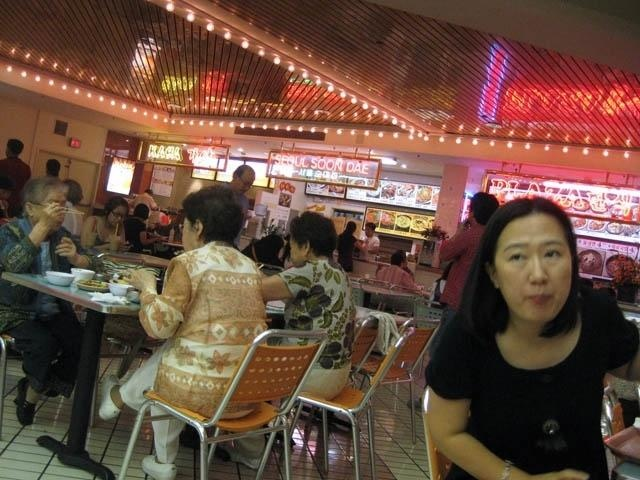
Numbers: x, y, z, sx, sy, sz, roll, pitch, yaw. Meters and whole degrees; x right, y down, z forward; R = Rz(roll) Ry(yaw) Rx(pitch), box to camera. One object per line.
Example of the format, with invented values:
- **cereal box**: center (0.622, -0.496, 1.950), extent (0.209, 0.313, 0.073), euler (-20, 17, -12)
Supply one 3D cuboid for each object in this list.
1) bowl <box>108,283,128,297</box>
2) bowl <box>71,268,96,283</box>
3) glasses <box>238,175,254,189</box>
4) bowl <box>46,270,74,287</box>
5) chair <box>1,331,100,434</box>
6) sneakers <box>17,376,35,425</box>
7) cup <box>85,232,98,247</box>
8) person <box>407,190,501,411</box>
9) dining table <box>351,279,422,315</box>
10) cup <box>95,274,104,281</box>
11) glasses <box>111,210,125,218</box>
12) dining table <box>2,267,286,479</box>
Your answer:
- **bowl**: center (-1.115, 0.281, 2.612), extent (0.084, 0.049, 0.085), euler (4, 6, 0)
- **bowl**: center (-1.412, 0.207, 2.788), extent (0.099, 0.068, 0.101), euler (3, 6, 0)
- **glasses**: center (-0.854, -0.710, 5.533), extent (0.115, 0.155, 0.161), euler (16, 39, -22)
- **bowl**: center (-1.440, 0.201, 2.632), extent (0.105, 0.044, 0.107), euler (9, 9, -1)
- **chair**: center (-1.702, 0.824, 2.912), extent (0.431, 0.612, 0.376), euler (8, -6, 1)
- **sneakers**: center (-1.852, 1.056, 2.985), extent (0.096, 0.322, 0.112), euler (-5, -5, 10)
- **cup**: center (-2.021, -0.008, 4.165), extent (0.098, 0.129, 0.100), euler (11, -24, 5)
- **person**: center (1.181, 0.582, 4.130), extent (0.620, 2.029, 0.470), euler (12, 4, -23)
- **dining table**: center (0.841, 0.738, 5.982), extent (0.550, 0.388, 0.793), euler (14, 3, 6)
- **cup**: center (-1.405, 0.241, 3.015), extent (0.044, 0.033, 0.044), euler (3, -3, 0)
- **glasses**: center (-2.129, -0.270, 5.022), extent (0.076, 0.087, 0.065), euler (3, -13, 19)
- **dining table**: center (-1.168, 0.739, 3.093), extent (1.012, 1.432, 1.018), euler (27, 5, 28)
